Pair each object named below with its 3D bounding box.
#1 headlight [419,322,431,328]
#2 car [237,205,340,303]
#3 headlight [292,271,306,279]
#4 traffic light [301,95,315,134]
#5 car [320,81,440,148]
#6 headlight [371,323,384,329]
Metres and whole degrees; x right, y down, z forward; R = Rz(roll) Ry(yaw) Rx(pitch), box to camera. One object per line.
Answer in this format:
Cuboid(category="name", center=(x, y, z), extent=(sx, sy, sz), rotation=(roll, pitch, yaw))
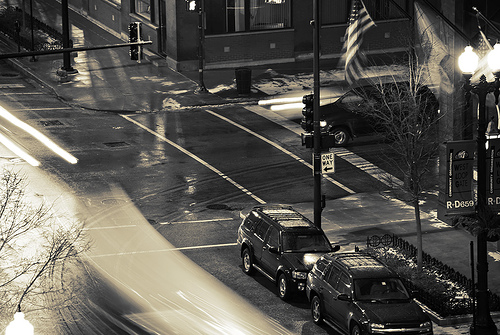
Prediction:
Cuboid(category="headlight", center=(5.563, 4.986, 32.288), extent=(0.253, 0.072, 0.169), rotation=(-3, -1, -18))
Cuboid(category="car", center=(1.589, 2.988, 36.847), extent=(2.983, 2.112, 5.096), rotation=(-5, 17, -19))
Cuboid(category="headlight", center=(1.691, 3.679, 34.859), extent=(0.457, 0.287, 0.127), rotation=(-5, 8, 1))
Cuboid(category="traffic light", center=(2.254, -1.975, 38.295), extent=(0.722, 1.449, 0.245), rotation=(2, 12, 45))
Cuboid(category="car", center=(6.866, -2.864, 48.443), extent=(7.195, 2.519, 2.921), rotation=(-6, 21, 30))
Cuboid(category="headlight", center=(4.008, 4.977, 31.990), extent=(0.278, 0.068, 0.179), rotation=(3, 6, 19))
